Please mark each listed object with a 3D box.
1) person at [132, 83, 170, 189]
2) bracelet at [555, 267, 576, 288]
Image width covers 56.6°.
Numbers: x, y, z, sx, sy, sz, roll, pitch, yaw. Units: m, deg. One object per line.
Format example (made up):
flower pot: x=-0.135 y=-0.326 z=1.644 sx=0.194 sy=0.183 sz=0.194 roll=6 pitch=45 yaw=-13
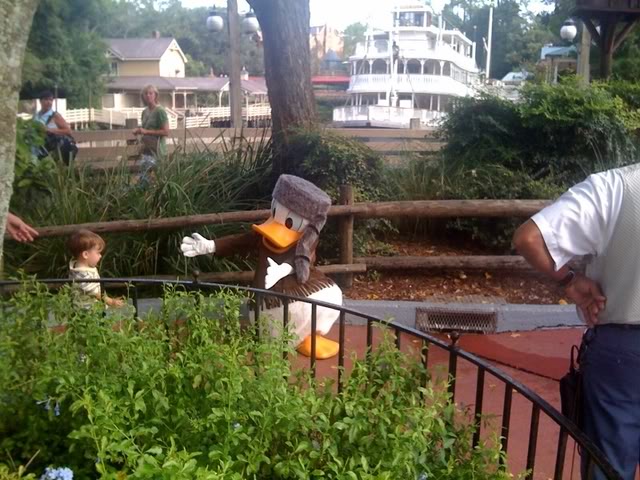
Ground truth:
person: x=-2.385 y=-1.565 z=8.469 sx=0.472 sy=1.241 sz=2.482 roll=-2 pitch=15 yaw=-15
bracelet: x=1.312 y=0.218 z=3.182 sx=0.042 sy=0.106 sz=0.079 roll=29 pitch=-11 yaw=-10
